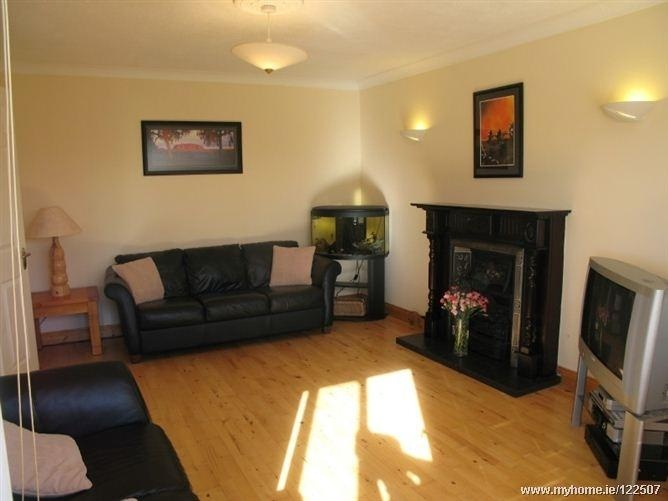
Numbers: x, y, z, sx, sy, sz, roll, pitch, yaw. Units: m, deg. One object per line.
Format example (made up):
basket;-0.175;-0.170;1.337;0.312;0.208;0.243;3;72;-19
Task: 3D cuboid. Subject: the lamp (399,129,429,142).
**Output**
lamp;0.936;-1.337;5.761;0.290;0.143;0.312;2;9;16

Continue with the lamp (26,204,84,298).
lamp;-2.890;0.001;5.193;0.464;0.922;0.592;-6;11;-30

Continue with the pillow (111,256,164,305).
pillow;-2.000;0.308;5.200;0.155;0.458;0.501;-25;0;24

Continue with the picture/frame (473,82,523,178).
picture/frame;1.585;-1.147;4.835;0.092;0.864;0.591;-6;11;-29

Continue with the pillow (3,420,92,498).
pillow;-1.392;0.997;2.440;0.325;0.357;0.435;-7;11;-35

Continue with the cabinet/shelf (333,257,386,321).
cabinet/shelf;0.226;0.407;6.486;0.858;0.894;0.846;-1;7;2

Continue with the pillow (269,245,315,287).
pillow;-0.495;0.182;5.929;0.527;0.485;0.184;1;-13;0

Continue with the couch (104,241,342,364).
couch;-1.240;0.502;5.684;2.585;0.973;0.965;-4;13;-28

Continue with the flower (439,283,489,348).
flower;1.245;0.684;4.930;0.346;0.645;0.457;-8;12;-38
